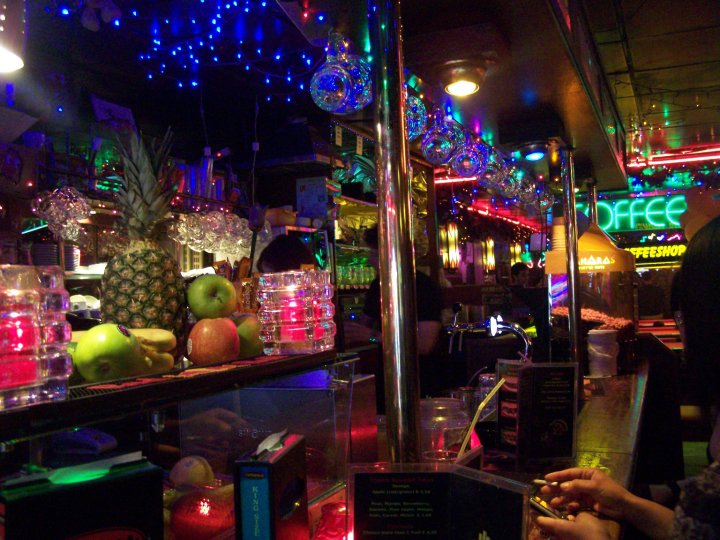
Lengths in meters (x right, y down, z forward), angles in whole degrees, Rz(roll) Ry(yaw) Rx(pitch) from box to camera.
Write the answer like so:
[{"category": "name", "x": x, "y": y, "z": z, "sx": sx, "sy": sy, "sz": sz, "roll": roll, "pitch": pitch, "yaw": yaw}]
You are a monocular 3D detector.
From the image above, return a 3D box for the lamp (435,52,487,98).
[{"category": "lamp", "x": 0.514, "y": -0.966, "z": 3.056, "sx": 0.244, "sy": 0.124, "sz": 0.256, "roll": 0, "pitch": -2, "yaw": 13}]

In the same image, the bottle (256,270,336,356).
[{"category": "bottle", "x": -0.187, "y": 0.128, "z": 1.926, "sx": 0.257, "sy": 0.257, "sz": 0.229, "roll": -1, "pitch": -2, "yaw": -16}]

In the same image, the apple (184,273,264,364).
[{"category": "apple", "x": -0.418, "y": 0.156, "z": 1.869, "sx": 0.164, "sy": 0.229, "sz": 0.170, "roll": -17, "pitch": 7, "yaw": 18}]

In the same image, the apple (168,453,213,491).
[{"category": "apple", "x": -0.430, "y": 0.518, "z": 1.565, "sx": 0.075, "sy": 0.070, "sz": 0.076, "roll": -2, "pitch": -8, "yaw": 22}]

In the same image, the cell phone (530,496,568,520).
[{"category": "cell phone", "x": 0.538, "y": 0.688, "z": 1.757, "sx": 0.090, "sy": 0.022, "sz": 0.091, "roll": 26, "pitch": -3, "yaw": -8}]

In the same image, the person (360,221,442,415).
[{"category": "person", "x": 0.356, "y": 0.513, "z": 4.756, "sx": 0.629, "sy": 1.015, "sz": 1.563, "roll": -1, "pitch": -2, "yaw": 0}]

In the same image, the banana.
[{"category": "banana", "x": -0.586, "y": 0.200, "z": 1.658, "sx": 0.125, "sy": 0.113, "sz": 0.251, "roll": 5, "pitch": -2, "yaw": -29}]

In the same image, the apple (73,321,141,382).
[{"category": "apple", "x": -0.652, "y": 0.189, "z": 1.513, "sx": 0.107, "sy": 0.122, "sz": 0.101, "roll": -10, "pitch": -14, "yaw": -16}]

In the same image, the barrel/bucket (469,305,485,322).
[{"category": "barrel/bucket", "x": 1.434, "y": 0.541, "z": 7.600, "sx": 0.224, "sy": 0.263, "sz": 0.228, "roll": 1, "pitch": -4, "yaw": 0}]
